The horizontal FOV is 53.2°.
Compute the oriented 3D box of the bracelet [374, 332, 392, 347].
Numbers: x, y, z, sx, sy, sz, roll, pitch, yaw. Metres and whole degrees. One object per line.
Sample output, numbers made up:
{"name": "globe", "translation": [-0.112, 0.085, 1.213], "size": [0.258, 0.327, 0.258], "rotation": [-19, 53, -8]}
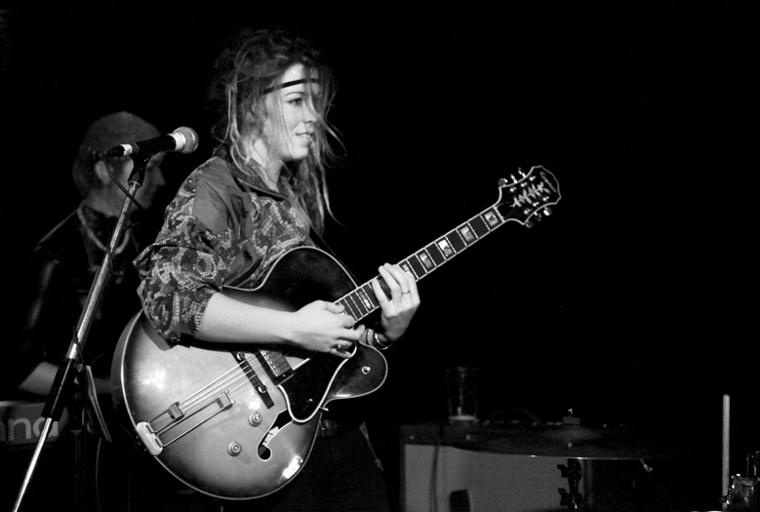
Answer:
{"name": "bracelet", "translation": [0.013, 0.345, 3.124], "size": [0.060, 0.022, 0.049], "rotation": [42, -2, -19]}

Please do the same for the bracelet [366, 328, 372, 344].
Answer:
{"name": "bracelet", "translation": [-0.044, 0.331, 3.111], "size": [0.009, 0.043, 0.043], "rotation": [4, -15, 27]}

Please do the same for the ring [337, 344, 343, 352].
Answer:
{"name": "ring", "translation": [-0.153, 0.358, 2.966], "size": [0.028, 0.020, 0.007], "rotation": [6, 1, -18]}

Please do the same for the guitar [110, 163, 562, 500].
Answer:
{"name": "guitar", "translation": [-0.158, 0.261, 3.135], "size": [0.709, 1.752, 0.227], "rotation": [56, -18, -6]}
